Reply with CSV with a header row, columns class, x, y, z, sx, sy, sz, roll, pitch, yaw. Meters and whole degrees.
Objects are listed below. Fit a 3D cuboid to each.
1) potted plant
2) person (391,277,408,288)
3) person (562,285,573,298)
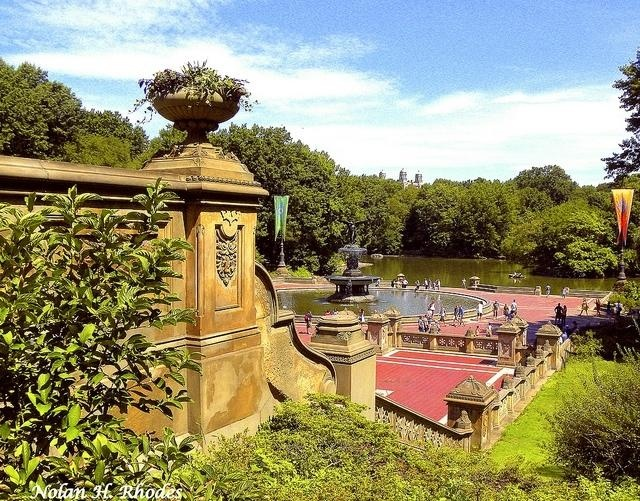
class,x,y,z,sx,sy,sz,roll,pitch,yaw
potted plant,-1.323,-1.511,5.433,1.060,0.850,1.136,4,12,14
person,7.027,2.933,45.994,0.976,0.627,1.268,1,6,2
person,20.398,3.453,42.670,0.499,1.465,0.535,-4,10,-21
